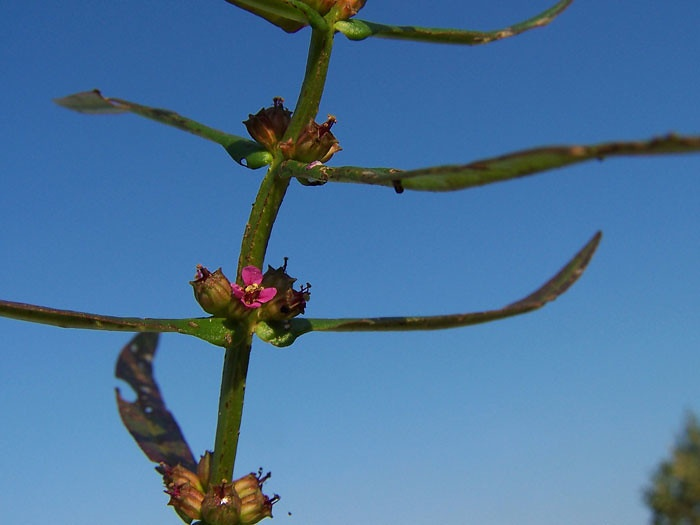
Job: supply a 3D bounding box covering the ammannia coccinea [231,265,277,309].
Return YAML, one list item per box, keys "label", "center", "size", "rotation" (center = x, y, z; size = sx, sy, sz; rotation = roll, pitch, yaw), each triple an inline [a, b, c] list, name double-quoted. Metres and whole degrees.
- label: "ammannia coccinea"
  center: [-0.430, 0.119, 5.199]
  size: [0.144, 0.166, 0.153]
  rotation: [-34, -57, 15]
